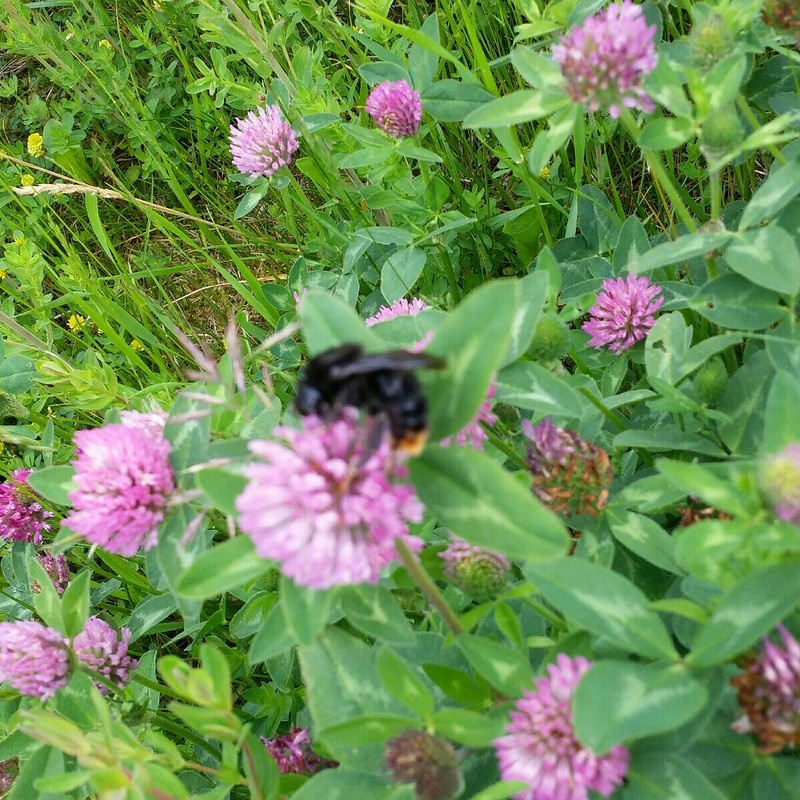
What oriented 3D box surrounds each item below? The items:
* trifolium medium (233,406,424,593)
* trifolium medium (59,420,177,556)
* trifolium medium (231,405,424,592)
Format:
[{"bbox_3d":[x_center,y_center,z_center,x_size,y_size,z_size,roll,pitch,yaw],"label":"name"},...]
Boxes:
[{"bbox_3d":[-0.094,0.135,1.021,0.227,0.256,0.103,-17,25,11],"label":"trifolium medium"},{"bbox_3d":[-0.552,0.163,1.537,0.182,0.207,0.270,2,70,12],"label":"trifolium medium"},{"bbox_3d":[-0.120,0.136,1.116,0.227,0.099,0.257,-9,93,-9],"label":"trifolium medium"}]
